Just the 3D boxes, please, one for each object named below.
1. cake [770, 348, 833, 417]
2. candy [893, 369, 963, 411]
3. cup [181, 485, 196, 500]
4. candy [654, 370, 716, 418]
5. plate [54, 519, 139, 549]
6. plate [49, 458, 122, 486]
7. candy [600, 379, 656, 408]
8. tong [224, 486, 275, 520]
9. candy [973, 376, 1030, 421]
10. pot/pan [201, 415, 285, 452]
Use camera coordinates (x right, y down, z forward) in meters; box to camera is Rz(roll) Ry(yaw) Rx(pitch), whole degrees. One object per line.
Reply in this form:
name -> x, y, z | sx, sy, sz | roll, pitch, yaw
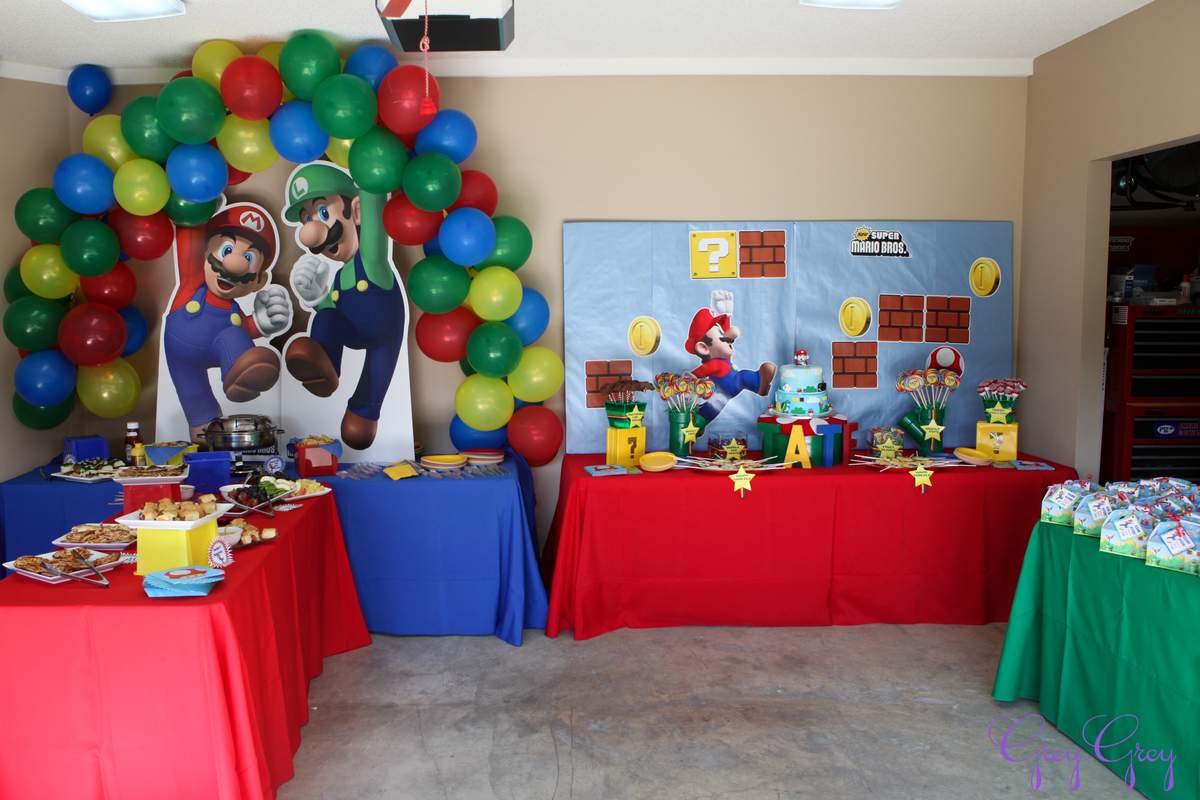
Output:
cake -> 1.279, -0.101, 5.302 | 0.400, 0.456, 0.415 | 0, -2, -2
candy -> 2.167, -0.081, 5.478 | 0.321, 0.290, 0.316 | -3, -1, 20
cup -> -2.078, 0.469, 4.197 | 0.067, 0.048, 0.075 | 2, -5, -45
candy -> 0.549, -0.024, 5.381 | 0.277, 0.156, 0.278 | 13, 1, 12
plate -> -2.322, 0.634, 3.858 | 0.215, 0.045, 0.311 | -1, 10, -3
plate -> -3.098, 0.428, 4.993 | 0.355, 0.048, 0.362 | 2, 10, 3
candy -> 0.185, -0.058, 5.399 | 0.362, 0.138, 0.410 | -1, 4, -1
tong -> -1.795, 0.517, 4.325 | 0.175, 0.061, 0.202 | 4, 4, 27
candy -> 2.592, 0.010, 5.421 | 0.325, 0.337, 0.294 | 0, -3, 15
pot/pan -> -2.144, 0.198, 4.982 | 0.263, 0.125, 0.269 | 1, 1, 3
